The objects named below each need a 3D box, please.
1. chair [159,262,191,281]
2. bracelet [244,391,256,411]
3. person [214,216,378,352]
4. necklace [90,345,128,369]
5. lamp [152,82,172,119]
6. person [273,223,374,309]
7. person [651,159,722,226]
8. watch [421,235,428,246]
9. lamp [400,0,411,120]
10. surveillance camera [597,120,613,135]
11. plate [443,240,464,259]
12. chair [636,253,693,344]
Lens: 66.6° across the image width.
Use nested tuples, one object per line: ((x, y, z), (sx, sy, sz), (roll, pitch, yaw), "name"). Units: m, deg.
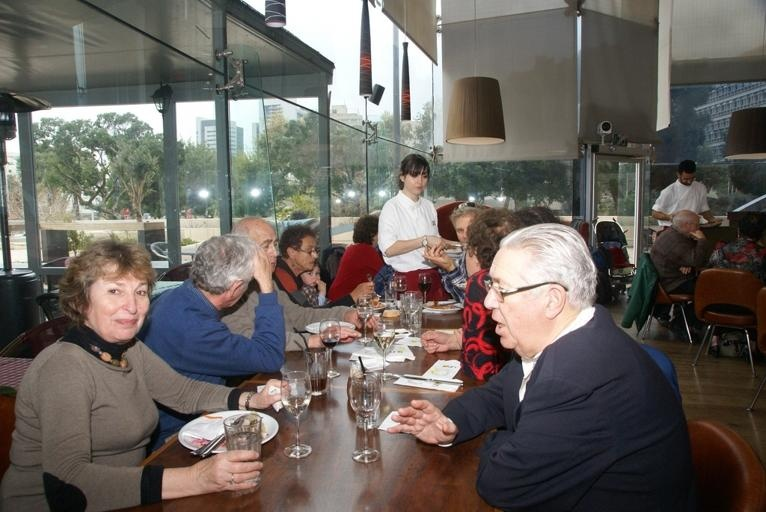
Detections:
((-1.529, 0.112, 4.243), (0.147, 0.137, 0.118), (8, 3, 21), "chair")
((-0.643, 0.696, 2.789), (0.024, 0.056, 0.060), (2, 35, -31), "bracelet")
((-0.530, 0.133, 3.819), (0.963, 0.997, 0.654), (-3, 5, -6), "person")
((-1.236, 0.456, 2.619), (0.115, 0.035, 0.102), (24, -31, 5), "necklace")
((-1.611, -1.144, 4.250), (0.174, 0.219, 0.176), (1, 2, 0), "lamp")
((-0.554, 0.134, 4.503), (0.867, 0.726, 0.576), (-3, 16, -2), "person")
((4.212, -0.708, 8.106), (0.741, 1.142, 0.553), (-4, 19, 4), "person")
((0.317, -0.113, 4.478), (0.033, 0.056, 0.073), (-1, 42, 11), "watch")
((0.313, -2.474, 8.269), (0.097, 1.145, 0.287), (-1, 3, 12), "lamp")
((2.854, -1.637, 7.487), (0.151, 0.182, 0.158), (5, 13, 8), "surveillance camera")
((0.577, -0.059, 4.795), (0.191, 0.201, 0.152), (-3, 7, 3), "plate")
((3.180, 0.561, 6.764), (0.668, 0.990, 0.657), (-7, -7, 26), "chair")
